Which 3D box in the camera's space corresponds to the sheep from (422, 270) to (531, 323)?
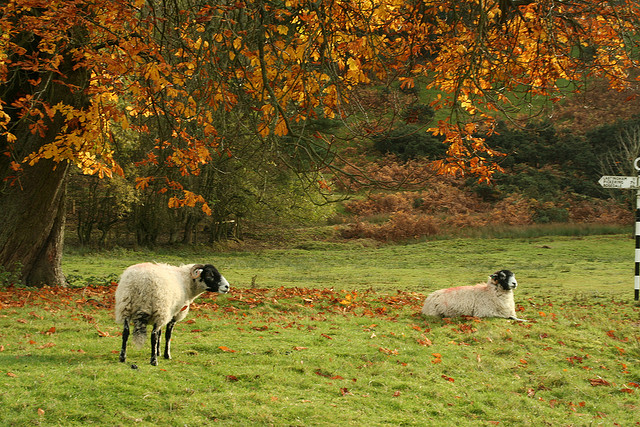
[{"bbox_3d":[4.888,2.600,22.968,3.652,1.415,1.260,-7,-6,36],"label":"sheep"}]
